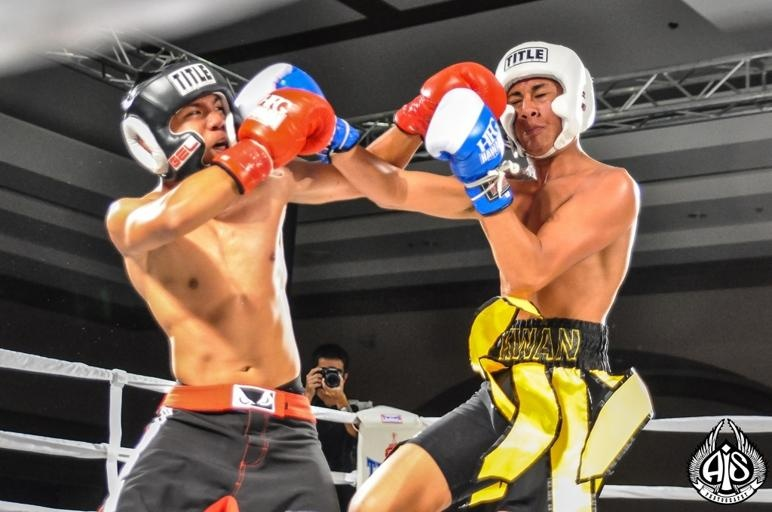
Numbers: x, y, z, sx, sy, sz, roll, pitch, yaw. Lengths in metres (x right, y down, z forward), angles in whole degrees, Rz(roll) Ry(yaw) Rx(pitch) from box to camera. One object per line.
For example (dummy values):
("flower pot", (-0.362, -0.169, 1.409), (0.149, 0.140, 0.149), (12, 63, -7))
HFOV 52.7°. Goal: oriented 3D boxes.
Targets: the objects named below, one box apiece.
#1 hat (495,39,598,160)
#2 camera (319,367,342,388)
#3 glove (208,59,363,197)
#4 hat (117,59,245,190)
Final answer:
("hat", (1.024, -0.958, 4.959), (0.548, 0.677, 0.696), (-5, -8, 28))
("camera", (-0.494, 1.084, 6.991), (0.169, 0.164, 0.167), (3, -10, -1))
("glove", (-0.542, -0.722, 4.514), (0.749, 0.741, 0.347), (0, -36, 15))
("hat", (-1.196, -0.759, 4.608), (0.683, 0.641, 0.556), (0, -5, 24))
